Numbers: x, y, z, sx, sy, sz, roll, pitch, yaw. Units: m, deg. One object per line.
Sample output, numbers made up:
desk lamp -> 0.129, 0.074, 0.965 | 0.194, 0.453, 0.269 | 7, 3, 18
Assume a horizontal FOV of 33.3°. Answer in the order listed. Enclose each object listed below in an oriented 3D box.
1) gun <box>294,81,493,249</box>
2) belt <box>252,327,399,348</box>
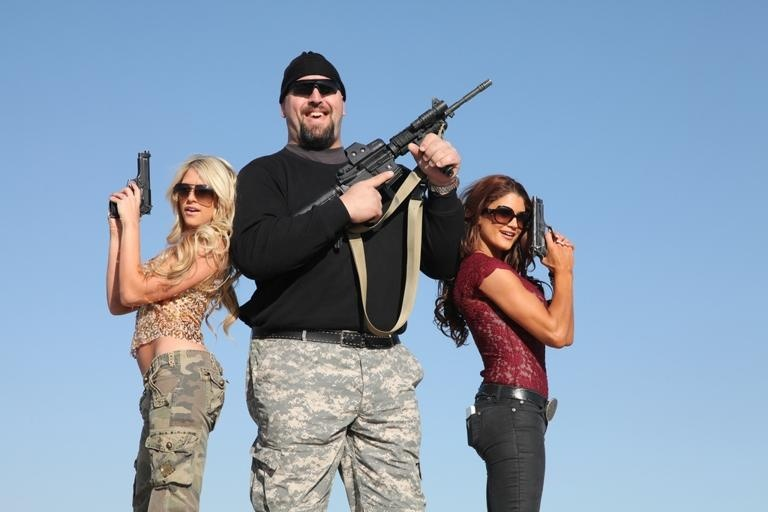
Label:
gun -> 0.154, -0.790, 10.765 | 2.076, 0.148, 0.698 | -35, -65, -4
belt -> -0.452, 0.658, 10.389 | 1.175, 0.223, 0.207 | 4, -33, -7
